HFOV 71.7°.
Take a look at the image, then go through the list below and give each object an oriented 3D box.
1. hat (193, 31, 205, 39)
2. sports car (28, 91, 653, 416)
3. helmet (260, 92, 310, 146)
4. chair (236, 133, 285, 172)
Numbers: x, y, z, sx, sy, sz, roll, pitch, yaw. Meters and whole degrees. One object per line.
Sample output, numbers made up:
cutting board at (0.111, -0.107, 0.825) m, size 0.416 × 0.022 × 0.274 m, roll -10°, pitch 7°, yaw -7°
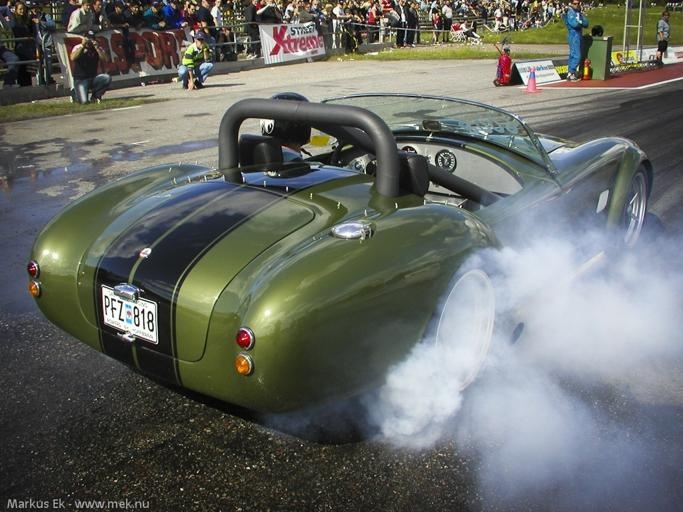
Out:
hat at (-5.307, -8.090, 17.419) m, size 0.334 × 0.270 × 0.573 m, roll 13°, pitch 17°, yaw -11°
sports car at (0.051, -0.410, 4.350) m, size 2.593 × 1.733 × 4.891 m, roll 12°, pitch 18°, yaw 30°
helmet at (-0.413, -0.962, 3.482) m, size 0.332 × 0.456 × 0.455 m, roll 5°, pitch 39°, yaw 2°
chair at (-0.556, -0.676, 3.162) m, size 0.338 × 0.330 × 0.189 m, roll 4°, pitch 6°, yaw 38°
